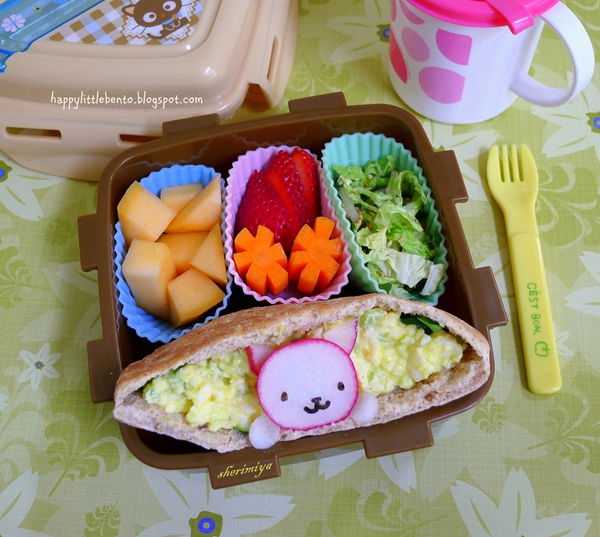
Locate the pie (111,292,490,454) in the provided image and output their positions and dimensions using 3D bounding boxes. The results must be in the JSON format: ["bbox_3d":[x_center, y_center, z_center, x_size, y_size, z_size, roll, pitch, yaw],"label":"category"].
[{"bbox_3d":[-0.009,0.207,1.177,0.684,0.299,0.341,-10,-61,-2],"label":"pie"}]
